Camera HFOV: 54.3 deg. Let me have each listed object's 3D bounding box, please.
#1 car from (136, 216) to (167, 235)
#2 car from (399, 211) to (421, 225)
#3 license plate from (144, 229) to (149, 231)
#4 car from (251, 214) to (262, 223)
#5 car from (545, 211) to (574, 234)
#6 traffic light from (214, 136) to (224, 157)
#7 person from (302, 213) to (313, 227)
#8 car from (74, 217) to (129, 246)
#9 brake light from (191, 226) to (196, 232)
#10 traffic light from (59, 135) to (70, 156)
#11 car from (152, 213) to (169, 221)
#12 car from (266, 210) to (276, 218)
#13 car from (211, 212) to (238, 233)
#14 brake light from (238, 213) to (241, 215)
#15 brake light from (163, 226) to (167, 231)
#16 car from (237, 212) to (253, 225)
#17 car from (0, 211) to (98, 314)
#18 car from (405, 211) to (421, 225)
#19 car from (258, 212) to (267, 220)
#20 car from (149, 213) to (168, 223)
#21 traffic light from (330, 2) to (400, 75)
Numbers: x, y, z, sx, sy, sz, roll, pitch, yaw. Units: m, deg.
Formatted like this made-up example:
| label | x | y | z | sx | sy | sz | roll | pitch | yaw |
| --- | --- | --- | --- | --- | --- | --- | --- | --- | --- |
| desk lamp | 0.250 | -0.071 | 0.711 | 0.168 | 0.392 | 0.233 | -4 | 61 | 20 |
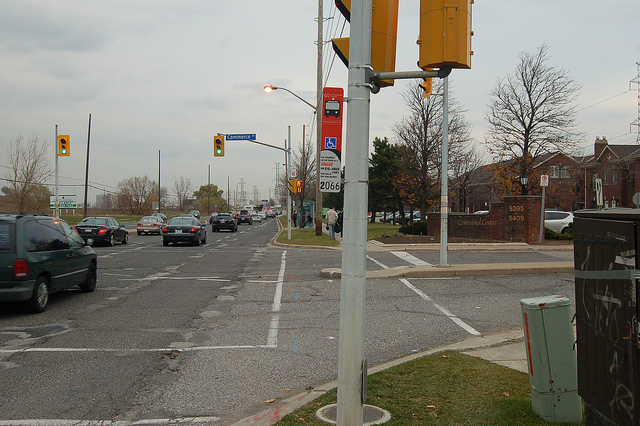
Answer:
| label | x | y | z | sx | sy | sz | roll | pitch | yaw |
| --- | --- | --- | --- | --- | --- | --- | --- | --- | --- |
| car | -12.859 | 0.940 | 48.001 | 1.516 | 1.057 | 3.238 | -1 | 5 | -6 |
| car | 8.770 | 0.508 | 61.777 | 3.328 | 1.066 | 1.513 | -3 | 4 | -1 |
| license plate | -12.923 | 1.274 | 46.468 | 0.383 | 0.084 | 0.147 | -1 | 0 | 19 |
| car | -9.098 | 0.765 | 88.297 | 1.106 | 0.775 | 2.373 | 0 | -7 | -2 |
| car | 13.605 | 0.455 | 33.894 | 2.451 | 1.234 | 1.481 | 2 | 0 | 9 |
| traffic light | -6.129 | -4.066 | 37.766 | 0.517 | 0.961 | 0.233 | -1 | 1 | 17 |
| person | -1.142 | 0.881 | 63.300 | 0.412 | 1.110 | 0.817 | 11 | 6 | -22 |
| car | -10.434 | 0.893 | 29.805 | 1.361 | 1.001 | 3.287 | -1 | -5 | 16 |
| brake light | -6.243 | 0.795 | 30.736 | 0.097 | 0.197 | 0.250 | -1 | 0 | 29 |
| traffic light | -13.821 | -3.632 | 33.637 | 0.441 | 1.060 | 0.910 | -2 | 1 | -25 |
| car | -17.072 | 0.376 | 66.442 | 1.055 | 0.713 | 2.119 | 1 | -6 | -11 |
| car | -10.220 | 0.269 | 128.798 | 1.686 | 1.207 | 3.634 | -1 | -3 | 0 |
| car | -8.137 | 0.845 | 52.950 | 1.660 | 1.363 | 3.854 | 0 | -3 | -2 |
| brake light | -9.603 | 0.083 | 73.992 | 0.265 | 0.246 | 0.262 | 1 | 0 | 1 |
| brake light | -7.695 | 0.772 | 30.920 | 0.192 | 0.134 | 0.301 | 1 | -6 | -15 |
| car | -8.856 | 0.687 | 72.368 | 1.484 | 0.851 | 2.532 | 0 | -1 | -4 |
| car | -5.937 | 0.910 | 13.810 | 1.394 | 1.370 | 2.653 | -1 | 5 | 2 |
| car | 8.963 | 0.484 | 60.382 | 2.389 | 1.149 | 1.500 | -4 | 4 | -2 |
| car | -9.647 | 0.482 | 104.002 | 1.041 | 0.771 | 2.279 | 0 | 5 | 0 |
| car | -15.225 | 0.484 | 58.831 | 0.970 | 0.691 | 2.075 | 0 | -9 | -9 |
| traffic light | 0.614 | -2.270 | 8.078 | 0.785 | 0.984 | 0.587 | -1 | 1 | 4 |
